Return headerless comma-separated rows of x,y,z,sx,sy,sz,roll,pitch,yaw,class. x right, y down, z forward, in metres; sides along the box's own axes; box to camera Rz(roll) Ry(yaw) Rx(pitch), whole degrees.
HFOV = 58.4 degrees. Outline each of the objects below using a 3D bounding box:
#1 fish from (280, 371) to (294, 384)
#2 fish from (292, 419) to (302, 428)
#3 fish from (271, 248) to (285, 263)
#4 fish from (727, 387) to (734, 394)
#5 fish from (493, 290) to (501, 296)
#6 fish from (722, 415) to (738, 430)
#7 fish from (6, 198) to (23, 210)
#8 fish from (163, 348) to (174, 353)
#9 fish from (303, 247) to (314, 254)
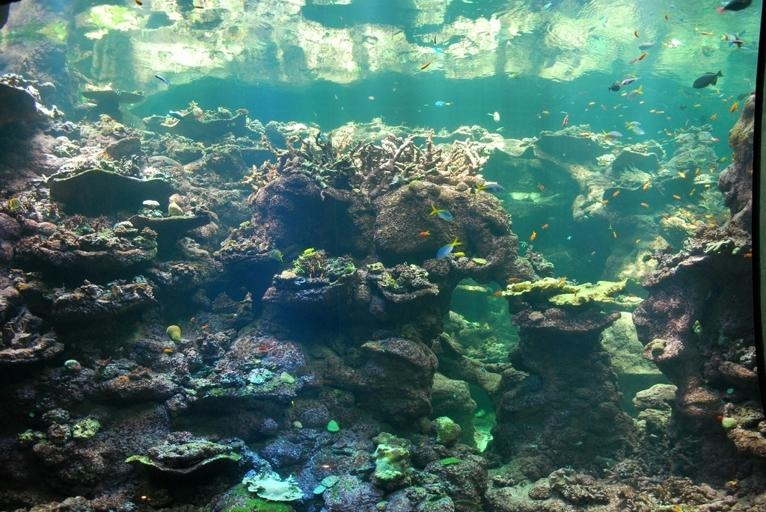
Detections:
-3.695,4.770,26.674,0.458,0.166,0.439,25,23,10,fish
-3.229,6.477,26.386,0.372,0.204,0.210,0,15,-10,fish
-4.349,0.002,28.593,0.499,0.530,0.199,-35,11,-29,fish
12.559,4.854,24.675,0.186,0.094,0.187,-6,18,47,fish
4.732,1.536,28.040,0.207,0.137,0.495,6,-7,-8,fish
12.410,5.958,24.412,0.476,0.339,0.355,3,1,24,fish
-14.071,-1.997,26.154,0.464,0.471,0.189,13,-24,-26,fish
-8.174,3.639,26.239,0.393,0.197,0.130,3,5,-18,fish
-2.922,-0.189,27.410,0.300,0.153,0.277,-1,-6,0,fish
